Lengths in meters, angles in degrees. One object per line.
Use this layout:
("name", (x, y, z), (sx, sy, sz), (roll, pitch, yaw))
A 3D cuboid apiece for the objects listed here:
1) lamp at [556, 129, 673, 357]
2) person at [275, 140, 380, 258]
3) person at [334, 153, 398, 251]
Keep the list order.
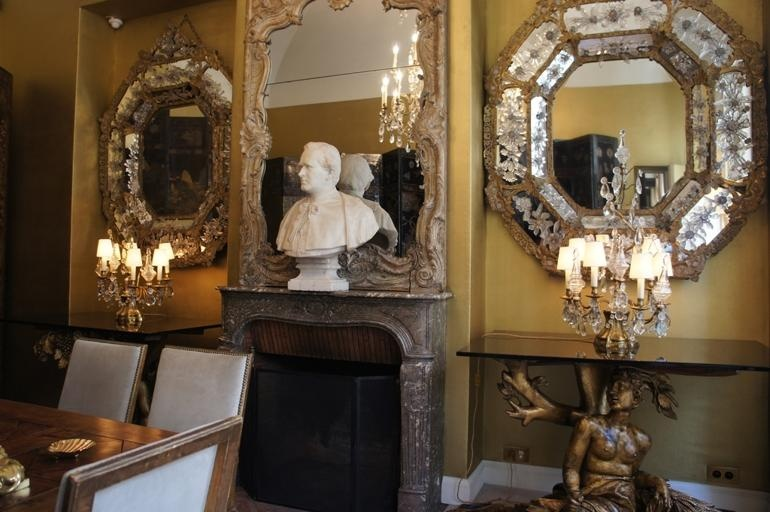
("lamp", (1.610, -0.051, 4.550), (0.711, 1.469, 0.694), (4, 0, -15))
("person", (-0.471, -0.420, 4.873), (0.881, 0.883, 0.523), (1, 0, 34))
("person", (-0.121, -0.377, 4.753), (0.604, 0.800, 0.272), (3, 12, 38))
